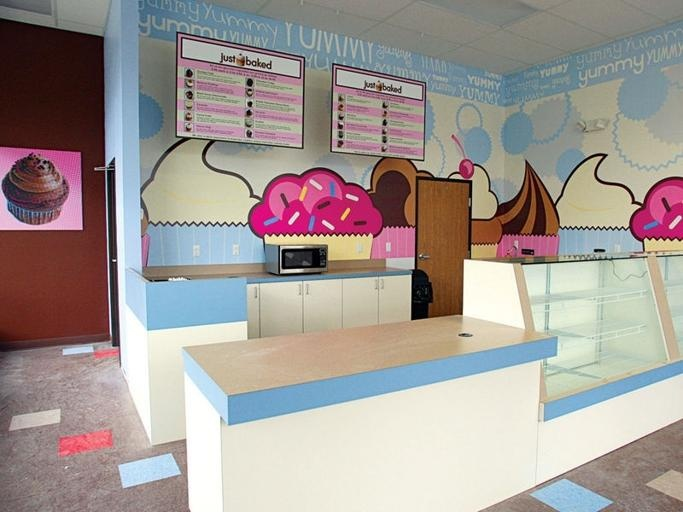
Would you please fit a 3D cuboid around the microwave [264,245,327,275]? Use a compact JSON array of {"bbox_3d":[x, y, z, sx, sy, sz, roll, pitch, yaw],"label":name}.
[{"bbox_3d":[-0.511,0.031,5.515,0.701,0.373,0.427,-2,13,-6],"label":"microwave"}]
